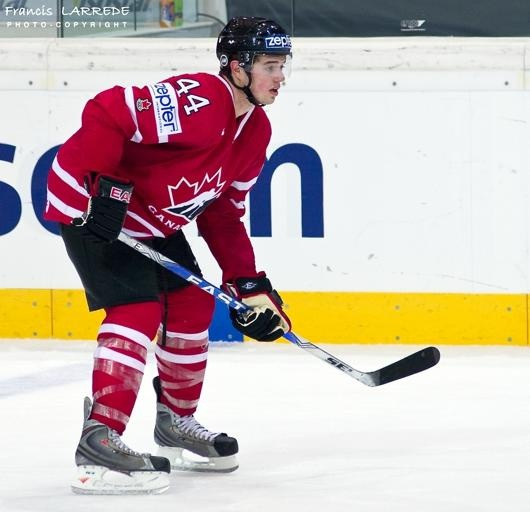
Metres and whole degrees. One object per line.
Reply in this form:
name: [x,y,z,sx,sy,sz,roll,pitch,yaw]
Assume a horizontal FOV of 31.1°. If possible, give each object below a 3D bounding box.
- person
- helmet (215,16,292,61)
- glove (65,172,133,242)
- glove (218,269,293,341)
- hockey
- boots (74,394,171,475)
person: [-0.264,-0.034,2.784,0.666,1.349,0.470,-1,10,-38]
helmet: [-0.029,-0.627,2.836,0.256,0.150,0.185,9,9,35]
glove: [-0.479,-0.129,2.604,0.154,0.185,0.107,17,22,-24]
glove: [-0.041,0.148,2.886,0.222,0.184,0.104,54,24,22]
hockey: [0.053,0.178,3.575,1.459,0.151,0.149,24,-20,-7]
boots: [-0.381,0.501,2.607,0.319,0.167,0.104,3,3,21]
